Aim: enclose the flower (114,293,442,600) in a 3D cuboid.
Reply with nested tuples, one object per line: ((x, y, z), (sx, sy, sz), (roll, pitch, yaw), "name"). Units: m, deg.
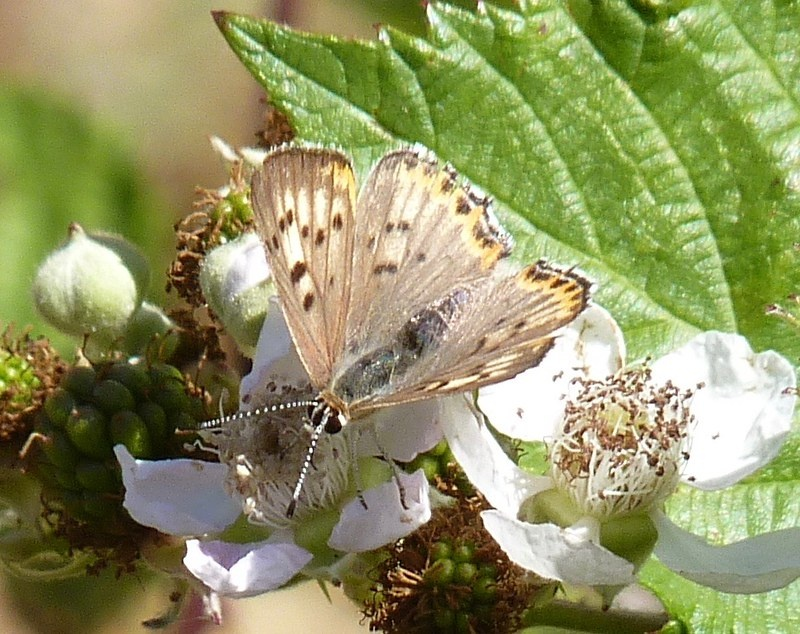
((-0.203, 0.216, 1.947), (0.452, 0.412, 0.189), (38, -2, -18), "flower")

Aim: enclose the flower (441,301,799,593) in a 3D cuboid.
((0.322, 0.178, 1.885), (0.512, 0.406, 0.176), (3, -4, 10), "flower")
